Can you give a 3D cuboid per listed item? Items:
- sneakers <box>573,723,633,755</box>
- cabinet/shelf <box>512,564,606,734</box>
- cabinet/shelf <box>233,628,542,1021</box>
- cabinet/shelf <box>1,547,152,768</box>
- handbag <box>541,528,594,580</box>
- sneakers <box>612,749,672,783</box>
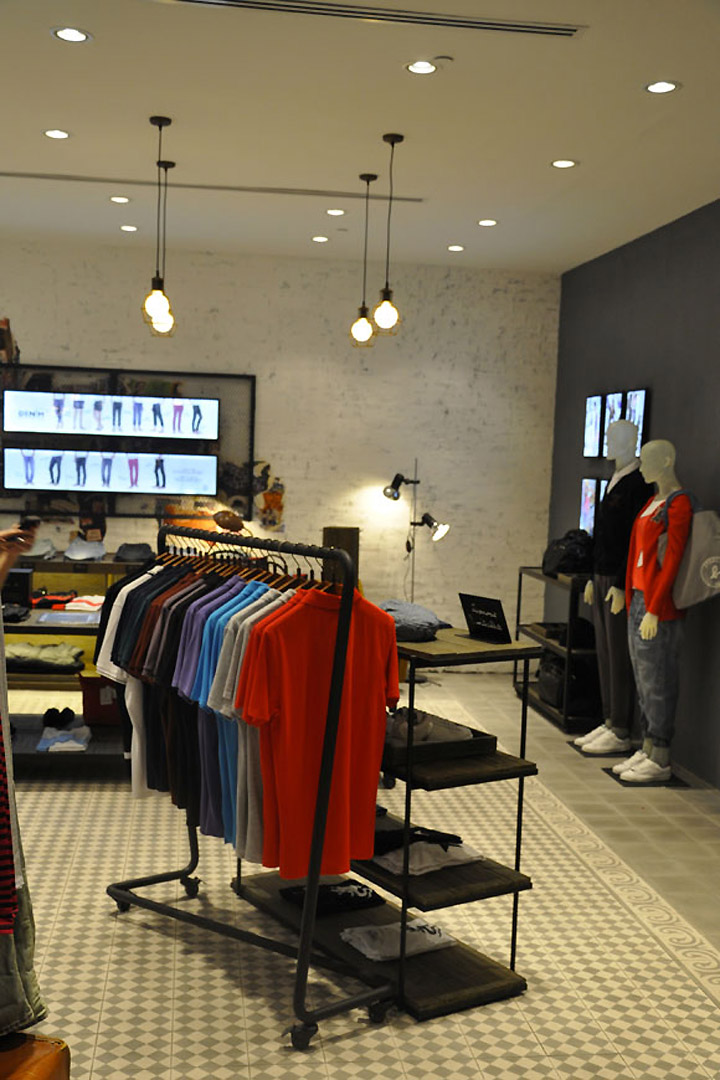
[{"bbox_3d":[1.490,1.226,5.154,0.296,0.131,0.159,2,-5,-6],"label":"sneakers"},{"bbox_3d":[1.356,0.754,5.602,0.338,0.960,1.068,1,2,-3],"label":"cabinet/shelf"},{"bbox_3d":[0.069,0.878,2.438,0.364,0.990,1.118,-1,3,-25],"label":"cabinet/shelf"},{"bbox_3d":[-1.434,0.615,4.109,1.081,0.770,0.592,0,1,-5],"label":"cabinet/shelf"},{"bbox_3d":[1.351,0.091,5.664,0.251,0.354,0.348,0,10,-44],"label":"handbag"},{"bbox_3d":[1.577,1.256,4.635,0.224,0.098,0.171,2,-5,-8],"label":"sneakers"}]
